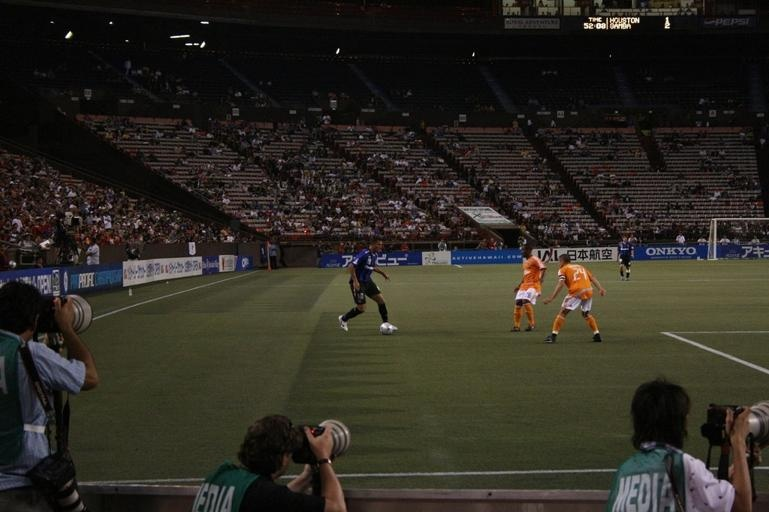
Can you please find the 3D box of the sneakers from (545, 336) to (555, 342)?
[{"bbox_3d":[6.379,3.204,36.411,0.195,0.212,0.518,-2,-9,10],"label":"sneakers"}]

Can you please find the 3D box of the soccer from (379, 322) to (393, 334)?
[{"bbox_3d":[0.097,2.898,37.836,0.571,0.485,0.481,-1,-2,-25],"label":"soccer"}]
